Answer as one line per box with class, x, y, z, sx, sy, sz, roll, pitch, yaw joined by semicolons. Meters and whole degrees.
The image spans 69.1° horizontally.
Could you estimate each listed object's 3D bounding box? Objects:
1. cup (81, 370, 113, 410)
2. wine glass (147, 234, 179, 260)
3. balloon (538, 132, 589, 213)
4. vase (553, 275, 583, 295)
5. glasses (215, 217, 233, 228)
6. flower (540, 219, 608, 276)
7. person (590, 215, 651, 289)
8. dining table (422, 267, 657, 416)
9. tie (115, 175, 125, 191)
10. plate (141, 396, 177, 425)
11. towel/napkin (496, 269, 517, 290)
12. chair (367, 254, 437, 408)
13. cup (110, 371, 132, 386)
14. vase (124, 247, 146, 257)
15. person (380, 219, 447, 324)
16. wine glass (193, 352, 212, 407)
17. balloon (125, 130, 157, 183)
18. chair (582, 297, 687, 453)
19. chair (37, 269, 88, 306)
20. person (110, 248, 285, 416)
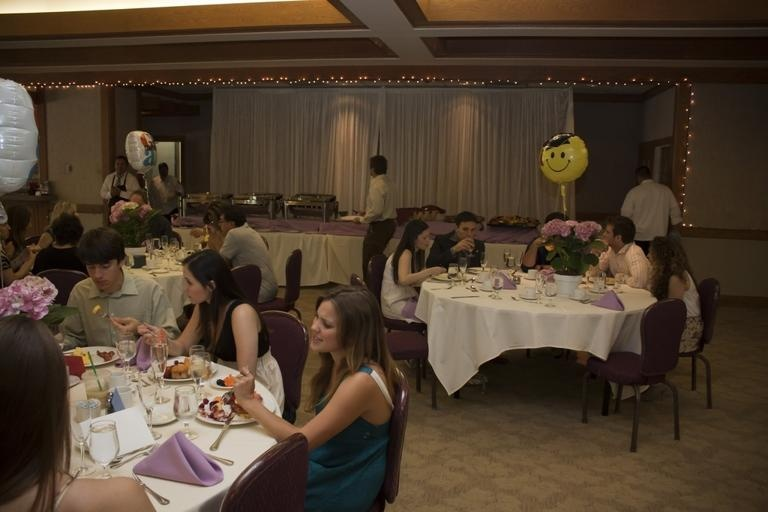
cup;-1.317;0.619;2.563;0.135;0.178;0.127;2;3;0
wine glass;-2.313;-0.125;5.870;0.284;0.229;0.268;-4;9;-24
balloon;1.727;-0.916;5.358;0.424;0.517;0.260;5;14;16
vase;1.496;0.223;4.492;0.160;0.135;0.169;0;0;-3
glasses;-1.570;-0.325;5.527;0.124;0.141;0.101;-2;-5;10
flower;1.532;-0.056;4.527;0.484;0.505;0.441;6;-4;-7
person;2.232;0.005;5.198;0.466;0.782;0.565;-12;13;-20
dining table;1.324;0.641;4.900;1.807;0.741;1.789;-2;11;-41
tie;-4.065;-1.120;8.639;0.203;0.225;0.059;4;-2;15
plate;-0.995;0.698;2.496;0.131;0.020;0.136;6;18;5
towel/napkin;1.026;0.194;4.678;0.186;0.092;0.195;-1;7;-4
chair;0.113;0.643;4.472;0.439;0.779;0.429;-2;12;2
cup;-1.215;0.561;2.611;0.105;0.079;0.081;8;-11;-39
vase;-2.304;-0.055;5.204;0.129;0.077;0.130;-6;9;-38
person;0.265;0.302;5.056;0.552;1.216;0.500;5;4;26
wine glass;-0.857;0.562;2.612;0.087;0.215;0.096;6;9;25
balloon;-2.817;-1.229;6.497;0.296;0.434;0.305;-4;14;-20
chair;1.835;0.767;4.056;0.574;1.058;0.610;-7;16;-30
chair;-2.017;0.197;3.519;0.140;0.210;0.163;12;33;-22
person;-1.006;0.622;3.228;0.851;1.301;0.500;-9;13;-21
